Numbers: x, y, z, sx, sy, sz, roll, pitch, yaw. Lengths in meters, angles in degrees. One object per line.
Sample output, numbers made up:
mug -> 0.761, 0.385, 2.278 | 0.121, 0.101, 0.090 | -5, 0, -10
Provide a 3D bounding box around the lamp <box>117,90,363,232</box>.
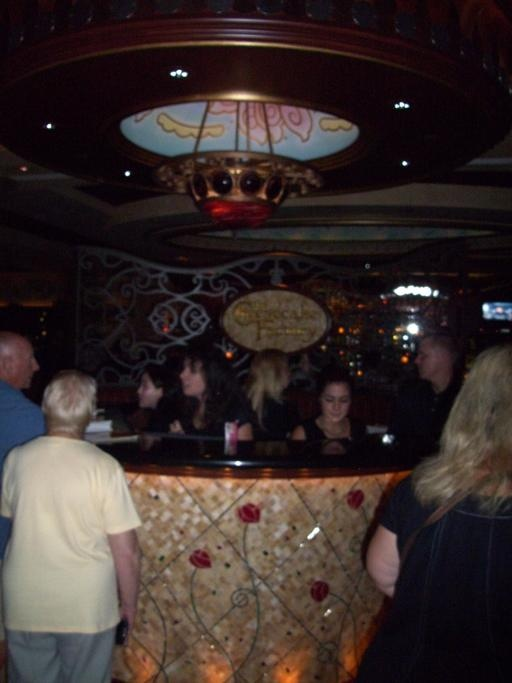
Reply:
lamp -> -0.074, -1.027, 3.338 | 1.527, 0.669, 1.417 | 4, 9, 13
